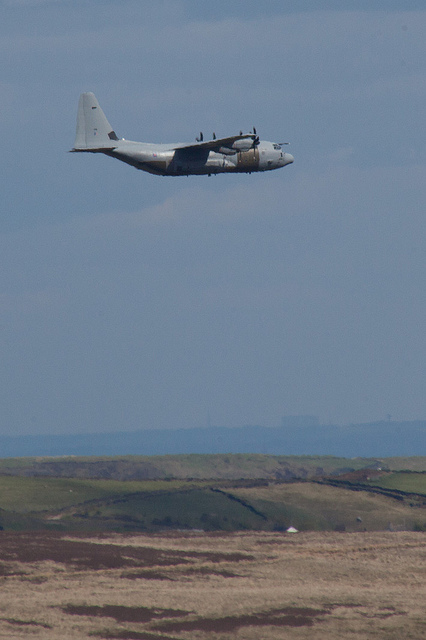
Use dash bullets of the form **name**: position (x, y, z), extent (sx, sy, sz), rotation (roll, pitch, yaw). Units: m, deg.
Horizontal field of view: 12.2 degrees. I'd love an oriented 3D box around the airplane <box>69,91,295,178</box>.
- **airplane**: position (-2.435, -13.756, 140.042), extent (14.498, 8.058, 14.670), rotation (-4, -2, -3)
